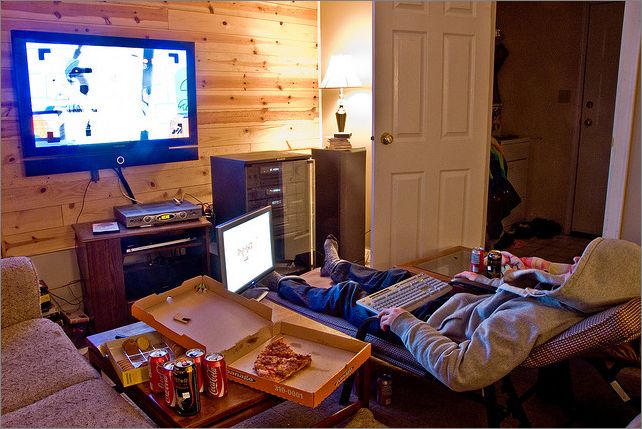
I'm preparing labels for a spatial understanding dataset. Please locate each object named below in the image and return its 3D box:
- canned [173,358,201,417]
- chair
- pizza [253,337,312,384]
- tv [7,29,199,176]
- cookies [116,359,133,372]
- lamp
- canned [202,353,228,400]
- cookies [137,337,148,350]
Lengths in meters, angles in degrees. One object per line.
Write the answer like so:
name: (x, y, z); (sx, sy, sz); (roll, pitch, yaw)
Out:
canned: (-0.585, 0.762, 2.036); (0.103, 0.223, 0.110); (-8, 17, -13)
chair: (0.594, 0.520, 2.678); (1.427, 0.338, 0.758); (18, 26, 40)
pizza: (-0.200, 0.698, 2.201); (0.246, 0.104, 0.200); (-18, 22, -41)
tv: (-1.801, -0.922, 3.747); (1.253, 0.906, 0.124); (-10, 18, -35)
cookies: (-0.912, 0.711, 2.178); (0.040, 0.015, 0.056); (-11, 32, -30)
lamp: (0.211, -1.209, 4.671); (0.400, 0.796, 0.682); (2, 18, 18)
canned: (-0.475, 0.733, 2.095); (0.080, 0.197, 0.079); (8, 20, 34)
cookies: (-0.864, 0.636, 2.269); (0.052, 0.060, 0.031); (-1, 17, 7)
